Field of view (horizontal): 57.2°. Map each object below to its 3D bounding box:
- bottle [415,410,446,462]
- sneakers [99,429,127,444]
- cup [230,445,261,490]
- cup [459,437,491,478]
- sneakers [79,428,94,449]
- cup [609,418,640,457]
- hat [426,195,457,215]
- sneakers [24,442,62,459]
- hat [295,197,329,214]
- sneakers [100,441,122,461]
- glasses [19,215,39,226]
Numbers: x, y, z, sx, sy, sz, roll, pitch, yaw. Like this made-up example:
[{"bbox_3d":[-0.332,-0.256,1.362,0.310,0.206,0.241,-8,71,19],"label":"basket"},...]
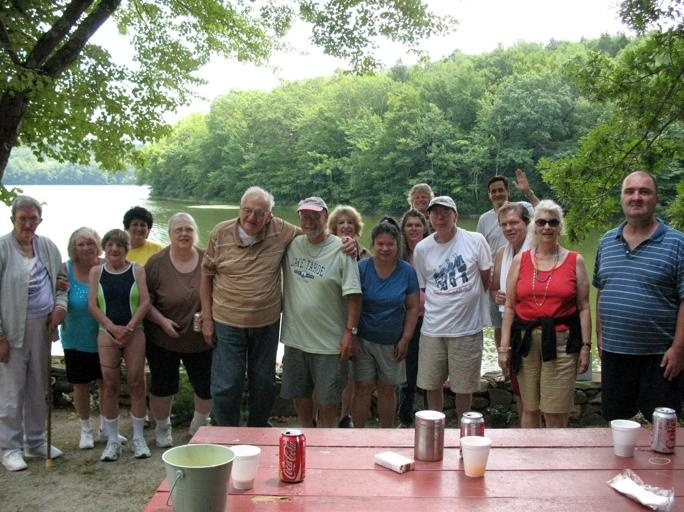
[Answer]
[{"bbox_3d":[0.591,1.189,4.108,0.238,0.241,0.239,-1,-6,37],"label":"bottle"},{"bbox_3d":[-2.404,1.881,6.534,0.346,0.108,0.233,0,-38,-7],"label":"sneakers"},{"bbox_3d":[-0.603,1.272,3.826,0.243,0.219,0.231,3,1,0],"label":"cup"},{"bbox_3d":[0.829,1.263,3.921,0.258,0.181,0.261,3,-10,1],"label":"cup"},{"bbox_3d":[-2.698,1.895,6.616,0.152,0.206,0.381,-3,9,-22],"label":"sneakers"},{"bbox_3d":[1.824,1.172,4.052,0.227,0.212,0.234,-1,-5,0],"label":"cup"},{"bbox_3d":[1.028,-0.530,6.222,0.176,0.117,0.241,-3,-26,31],"label":"hat"},{"bbox_3d":[-3.010,1.946,6.299,0.393,0.150,0.148,0,-1,-7],"label":"sneakers"},{"bbox_3d":[-0.280,-0.483,5.944,0.260,0.139,0.415,1,8,4],"label":"hat"},{"bbox_3d":[-2.322,1.946,6.279,0.205,0.165,0.181,-3,9,-22],"label":"sneakers"},{"bbox_3d":[-3.044,-0.346,6.072,0.113,0.056,0.132,0,-17,-24],"label":"glasses"}]
